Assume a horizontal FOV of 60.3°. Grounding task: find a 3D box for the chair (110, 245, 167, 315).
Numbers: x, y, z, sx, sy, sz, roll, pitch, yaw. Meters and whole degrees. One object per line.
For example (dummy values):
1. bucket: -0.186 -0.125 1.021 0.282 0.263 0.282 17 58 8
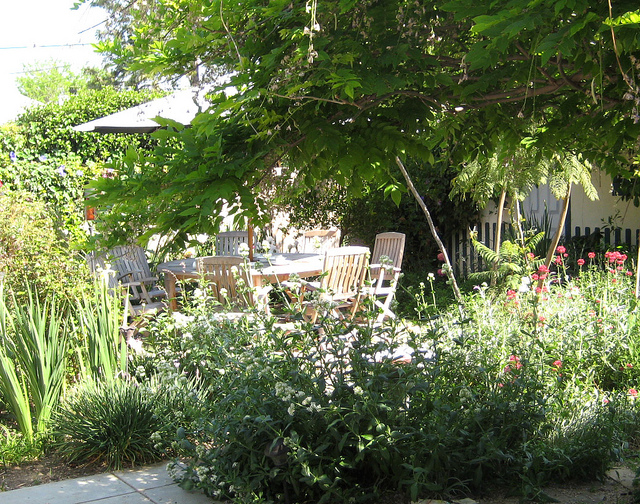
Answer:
1. chair: -2.261 0.362 6.792 0.616 0.938 0.847 -10 19 -36
